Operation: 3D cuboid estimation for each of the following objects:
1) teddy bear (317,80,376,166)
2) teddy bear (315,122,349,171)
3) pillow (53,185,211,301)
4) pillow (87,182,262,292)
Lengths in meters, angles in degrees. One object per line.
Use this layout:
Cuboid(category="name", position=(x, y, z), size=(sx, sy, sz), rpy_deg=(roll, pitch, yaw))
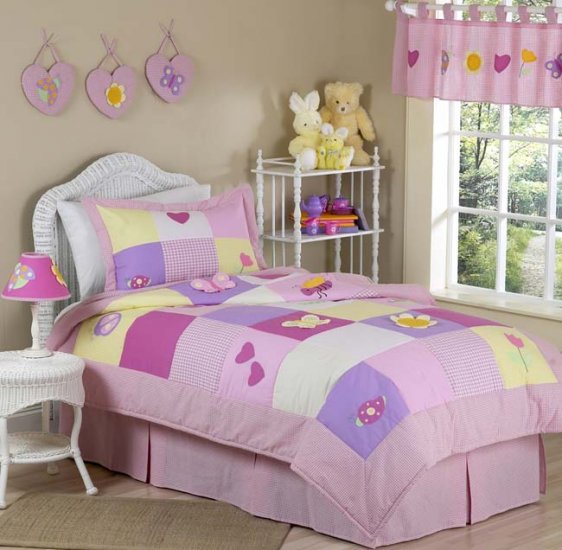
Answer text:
Cuboid(category="teddy bear", position=(0.382, -0.977, 3.807), size=(0.401, 0.450, 0.273), rpy_deg=(2, 46, 17))
Cuboid(category="teddy bear", position=(0.333, -0.772, 3.633), size=(0.226, 0.239, 0.187), rpy_deg=(17, 38, 30))
Cuboid(category="pillow", position=(-0.664, -0.120, 2.619), size=(0.611, 0.342, 0.128), rpy_deg=(-12, -4, -32))
Cuboid(category="pillow", position=(-0.500, -0.156, 2.695), size=(0.673, 0.354, 0.130), rpy_deg=(-4, -25, -32))
